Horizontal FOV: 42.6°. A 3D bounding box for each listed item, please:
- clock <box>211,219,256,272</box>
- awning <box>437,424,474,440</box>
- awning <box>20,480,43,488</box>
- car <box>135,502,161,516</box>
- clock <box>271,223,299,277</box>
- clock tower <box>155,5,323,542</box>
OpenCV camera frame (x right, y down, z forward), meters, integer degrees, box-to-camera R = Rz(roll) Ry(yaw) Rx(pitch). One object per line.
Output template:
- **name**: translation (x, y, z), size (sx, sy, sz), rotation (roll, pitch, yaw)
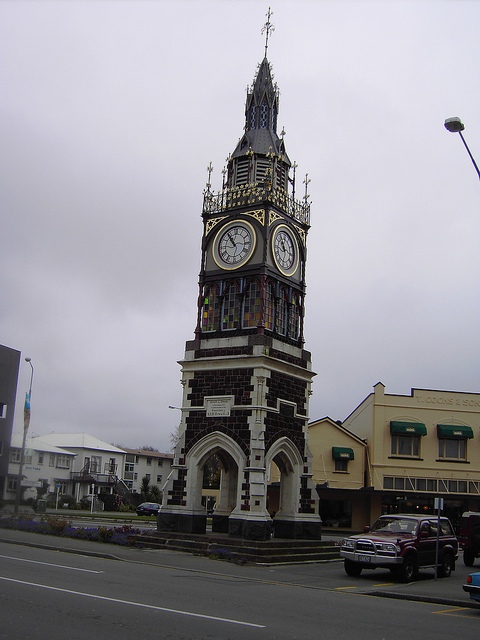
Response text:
- **clock**: translation (-0.261, -3.265, 27.247), size (2.026, 2.400, 0.171), rotation (-13, 34, -24)
- **awning**: translation (15.729, 8.551, 45.551), size (2.847, 0.941, 1.238), rotation (4, 9, -15)
- **awning**: translation (-22.319, 17.843, 66.510), size (1.444, 0.791, 3.380), rotation (2, -19, 9)
- **car**: translation (-8.304, 17.072, 55.046), size (1.706, 1.231, 4.151), rotation (8, -19, -8)
- **clock**: translation (1.967, -3.154, 27.702), size (0.120, 2.174, 2.040), rotation (-4, -2, 39)
- **clock tower**: translation (0.721, -3.243, 28.614), size (5.095, 25.423, 4.409), rotation (-7, -20, 32)
